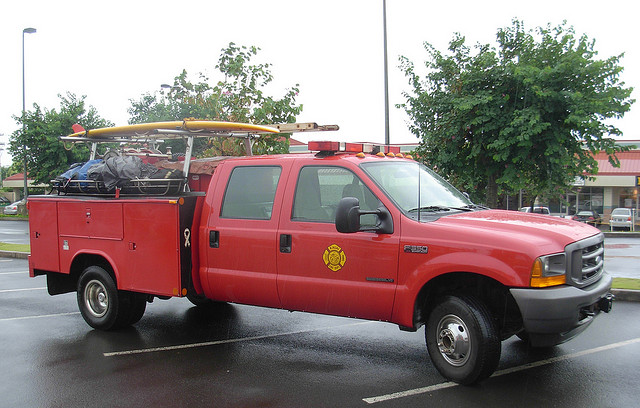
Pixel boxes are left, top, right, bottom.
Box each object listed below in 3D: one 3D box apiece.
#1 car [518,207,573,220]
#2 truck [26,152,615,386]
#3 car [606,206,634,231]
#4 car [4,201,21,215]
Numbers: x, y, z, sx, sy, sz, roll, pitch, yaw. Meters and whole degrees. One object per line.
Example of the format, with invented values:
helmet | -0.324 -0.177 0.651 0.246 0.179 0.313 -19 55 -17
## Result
car | 10.987 0.351 23.886 0.886 0.691 2.168 0 -2 -42
truck | -0.811 0.742 8.379 9.292 2.994 3.849 -1 1 32
car | 22.935 1.113 37.888 1.582 1.268 3.732 0 3 25
car | -33.796 0.488 54.066 1.186 0.984 1.936 -5 7 -32
